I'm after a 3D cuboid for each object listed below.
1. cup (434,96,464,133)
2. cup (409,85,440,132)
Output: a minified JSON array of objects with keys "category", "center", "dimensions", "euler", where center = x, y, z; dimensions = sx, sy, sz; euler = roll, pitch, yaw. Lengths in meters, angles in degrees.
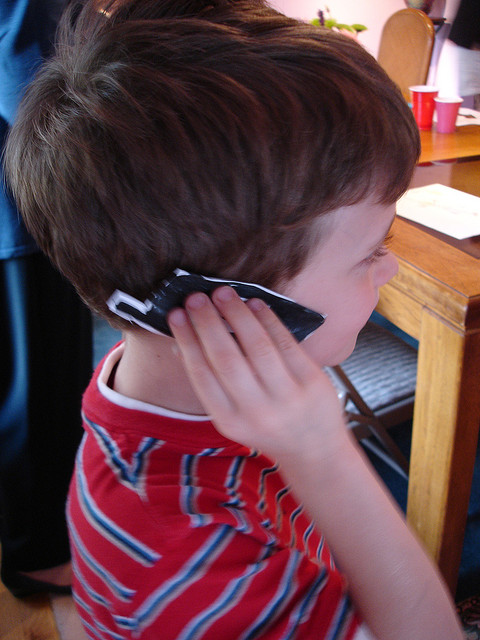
[{"category":"cup","center":[0.621,-0.619,1.692],"dimensions":[0.077,0.097,0.101],"euler":[6,26,16]},{"category":"cup","center":[0.569,-0.659,1.739],"dimensions":[0.140,0.119,0.133],"euler":[-5,33,3]}]
